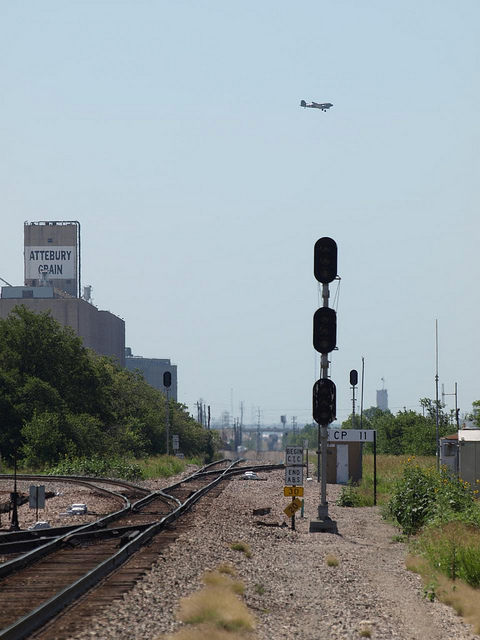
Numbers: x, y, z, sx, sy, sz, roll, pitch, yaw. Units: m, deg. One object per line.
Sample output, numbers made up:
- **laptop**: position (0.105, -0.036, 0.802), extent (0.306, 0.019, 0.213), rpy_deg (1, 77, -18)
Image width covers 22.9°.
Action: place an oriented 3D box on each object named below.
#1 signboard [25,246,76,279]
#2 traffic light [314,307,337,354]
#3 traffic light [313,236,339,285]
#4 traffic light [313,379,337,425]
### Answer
- **signboard**: position (-28.150, -10.274, 176.455), extent (6.615, 6.972, 4.298), rpy_deg (0, 1, 4)
- **traffic light**: position (2.347, 0.257, 32.660), extent (0.607, 0.206, 1.854), rpy_deg (8, -43, 10)
- **traffic light**: position (2.399, -1.708, 33.196), extent (0.638, 0.207, 1.837), rpy_deg (4, -43, 8)
- **traffic light**: position (2.299, 2.235, 32.264), extent (0.632, 0.168, 1.729), rpy_deg (3, -52, 7)
